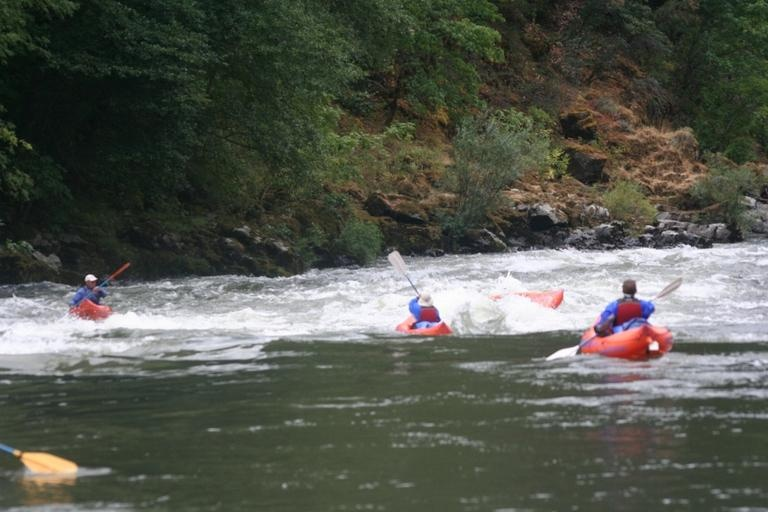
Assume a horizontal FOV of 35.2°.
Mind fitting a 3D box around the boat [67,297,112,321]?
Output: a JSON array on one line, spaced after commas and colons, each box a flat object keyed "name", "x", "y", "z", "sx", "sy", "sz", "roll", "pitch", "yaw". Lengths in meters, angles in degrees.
[{"name": "boat", "x": -9.435, "y": 1.726, "z": 39.077, "sx": 1.207, "sy": 0.341, "sz": 0.631, "roll": 9, "pitch": 0, "yaw": -1}]

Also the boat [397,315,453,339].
[{"name": "boat", "x": 1.214, "y": 2.264, "z": 38.466, "sx": 1.700, "sy": 0.605, "sz": 0.832, "roll": -4, "pitch": 10, "yaw": 27}]

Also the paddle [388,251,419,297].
[{"name": "paddle", "x": 0.708, "y": 0.718, "z": 44.020, "sx": 0.464, "sy": 2.068, "sz": 0.234, "roll": -39, "pitch": 1, "yaw": 11}]

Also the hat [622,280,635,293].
[{"name": "hat", "x": 7.566, "y": 0.951, "z": 37.244, "sx": 0.423, "sy": 0.363, "sz": 0.560, "roll": 2, "pitch": -13, "yaw": 8}]

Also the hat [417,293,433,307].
[{"name": "hat", "x": 1.333, "y": 1.413, "z": 38.673, "sx": 0.480, "sy": 0.262, "sz": 0.424, "roll": 5, "pitch": 32, "yaw": -3}]

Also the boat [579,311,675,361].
[{"name": "boat", "x": 7.398, "y": 2.613, "z": 36.522, "sx": 2.512, "sy": 1.018, "sz": 0.561, "roll": -6, "pitch": 11, "yaw": 12}]

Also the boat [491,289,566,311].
[{"name": "boat", "x": 5.139, "y": 1.417, "z": 40.770, "sx": 1.520, "sy": 0.498, "sz": 1.028, "roll": -10, "pitch": 4, "yaw": 29}]
